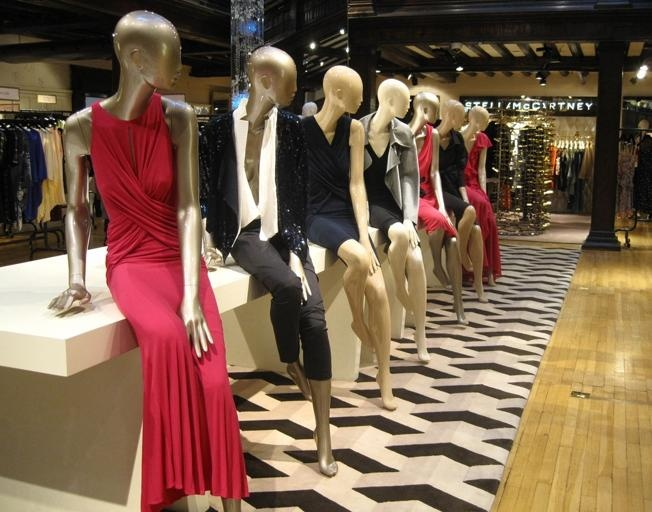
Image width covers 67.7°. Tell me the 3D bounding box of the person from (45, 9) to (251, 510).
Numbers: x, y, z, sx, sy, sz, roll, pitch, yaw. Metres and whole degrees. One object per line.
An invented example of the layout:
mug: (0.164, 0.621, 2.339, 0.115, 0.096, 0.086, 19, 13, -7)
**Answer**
person: (-0.563, 0.040, 1.494, 0.549, 1.524, 0.529, -3, 9, -22)

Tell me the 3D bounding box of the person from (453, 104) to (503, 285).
person: (1.637, -0.671, 4.946, 0.460, 1.964, 0.602, -5, 5, -23)

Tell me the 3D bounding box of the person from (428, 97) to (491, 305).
person: (1.248, -0.599, 4.532, 0.398, 2.036, 0.533, -7, 5, -25)
